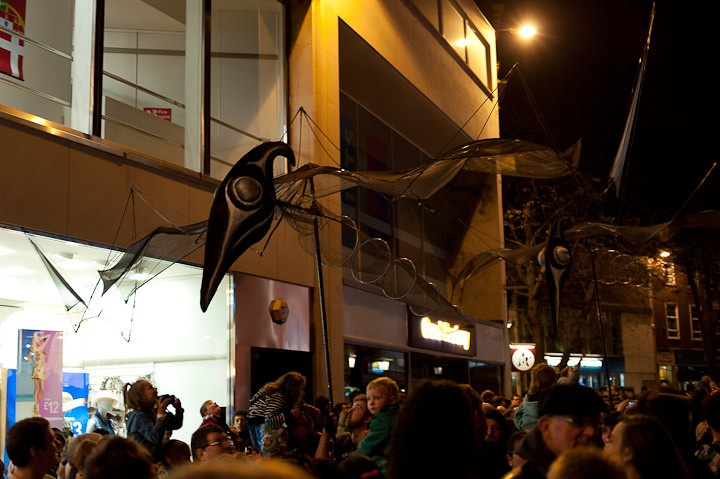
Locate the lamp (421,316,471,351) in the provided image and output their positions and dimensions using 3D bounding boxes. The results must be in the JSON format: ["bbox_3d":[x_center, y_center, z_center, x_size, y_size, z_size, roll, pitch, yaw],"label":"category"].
[{"bbox_3d":[2.683,2.977,22.161,0.143,0.555,2.144,-8,-21,31],"label":"lamp"}]
